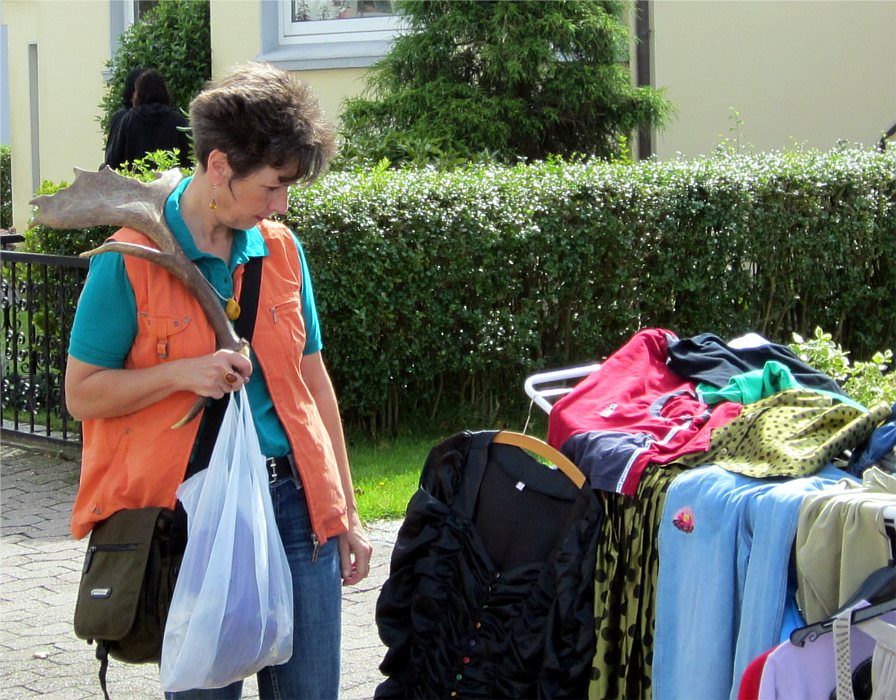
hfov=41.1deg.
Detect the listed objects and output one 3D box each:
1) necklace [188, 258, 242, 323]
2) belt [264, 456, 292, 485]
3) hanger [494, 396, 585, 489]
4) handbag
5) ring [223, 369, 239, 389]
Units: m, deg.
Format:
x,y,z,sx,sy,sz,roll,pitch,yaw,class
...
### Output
x,y,z,sx,sy,sz,roll,pitch,yaw,class
-0.743,-0.189,3.970,0.119,0.185,0.049,6,-23,-44,necklace
-0.561,0.411,4.017,0.088,0.072,0.067,-18,-6,42,belt
0.399,0.432,4.762,0.422,0.184,0.224,6,6,40,hanger
-1.034,0.767,3.911,0.351,0.477,0.246,-4,-13,43,handbag
-0.679,0.097,3.801,0.046,0.052,0.023,-6,11,-18,ring
